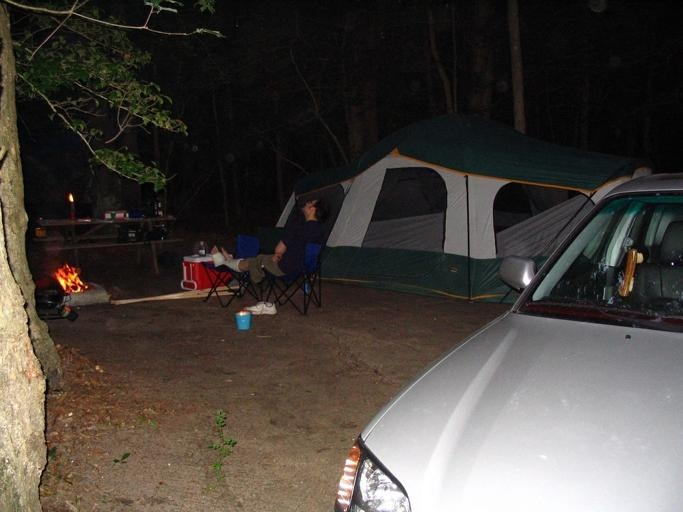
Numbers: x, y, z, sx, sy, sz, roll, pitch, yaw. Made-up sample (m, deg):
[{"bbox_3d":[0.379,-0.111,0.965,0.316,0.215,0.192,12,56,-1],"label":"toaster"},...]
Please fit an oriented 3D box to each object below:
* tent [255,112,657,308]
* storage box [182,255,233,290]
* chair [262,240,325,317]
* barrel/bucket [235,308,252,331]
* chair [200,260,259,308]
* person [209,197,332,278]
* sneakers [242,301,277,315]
[{"bbox_3d":[1.935,-0.854,9.451,4.458,1.720,3.197,3,11,41],"label":"tent"},{"bbox_3d":[-2.305,0.274,9.858,0.467,0.583,0.859,1,6,37],"label":"storage box"},{"bbox_3d":[-0.727,0.288,8.462,0.726,1.076,0.712,1,5,16],"label":"chair"},{"bbox_3d":[-1.228,0.811,7.190,0.201,0.206,0.224,0,-9,-1],"label":"barrel/bucket"},{"bbox_3d":[-1.748,0.395,9.130,0.732,0.531,0.690,7,2,-36],"label":"chair"},{"bbox_3d":[-1.105,-0.241,8.526,1.793,1.297,0.739,4,2,23],"label":"person"},{"bbox_3d":[-1.129,0.731,8.040,0.412,0.182,0.176,3,2,-8],"label":"sneakers"}]
